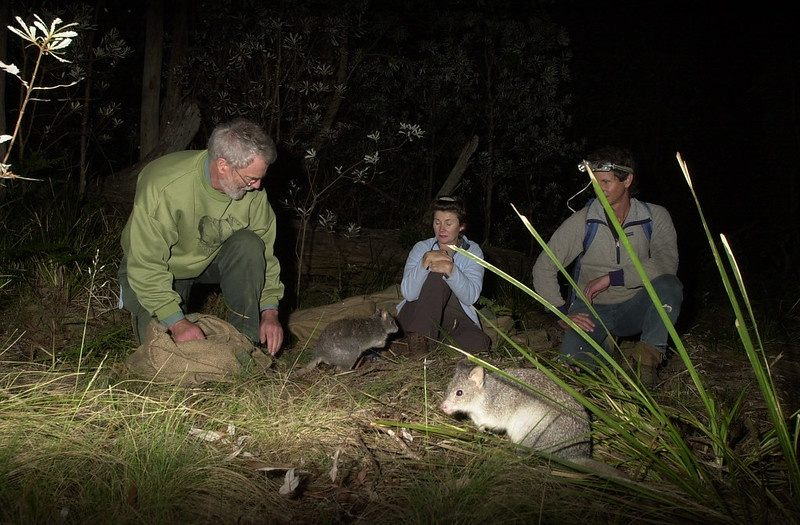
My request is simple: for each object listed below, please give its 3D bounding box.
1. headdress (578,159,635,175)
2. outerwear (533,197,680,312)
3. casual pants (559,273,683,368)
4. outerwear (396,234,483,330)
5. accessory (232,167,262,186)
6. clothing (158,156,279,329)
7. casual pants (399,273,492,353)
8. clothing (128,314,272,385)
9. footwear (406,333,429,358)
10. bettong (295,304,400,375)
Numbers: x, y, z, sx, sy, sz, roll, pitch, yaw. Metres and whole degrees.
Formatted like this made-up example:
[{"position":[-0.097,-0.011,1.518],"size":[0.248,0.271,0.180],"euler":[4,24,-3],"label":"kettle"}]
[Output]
[{"position":[2.331,-1.020,5.980],"size":[0.508,0.112,0.186],"euler":[9,6,-6],"label":"headdress"},{"position":[2.442,-0.080,6.511],"size":[1.571,1.265,1.114],"euler":[3,22,24],"label":"outerwear"},{"position":[2.611,0.555,6.305],"size":[1.284,0.673,1.555],"euler":[-24,7,14],"label":"casual pants"},{"position":[0.531,0.189,6.699],"size":[1.071,1.182,1.055],"euler":[9,12,20],"label":"outerwear"},{"position":[-1.480,-0.817,5.273],"size":[0.170,0.052,0.164],"euler":[44,21,18],"label":"accessory"},{"position":[-2.007,-0.261,5.579],"size":[1.343,1.722,0.711],"euler":[6,6,-26],"label":"clothing"},{"position":[0.462,0.656,6.540],"size":[1.208,1.325,0.837],"euler":[1,-6,-12],"label":"casual pants"},{"position":[-1.824,0.892,5.183],"size":[0.710,0.345,0.916],"euler":[11,7,44],"label":"clothing"},{"position":[0.193,0.957,6.282],"size":[0.260,0.252,0.068],"euler":[39,-1,16],"label":"footwear"},{"position":[-0.497,0.780,5.978],"size":[1.266,0.520,0.415],"euler":[-17,33,-33],"label":"bettong"}]
